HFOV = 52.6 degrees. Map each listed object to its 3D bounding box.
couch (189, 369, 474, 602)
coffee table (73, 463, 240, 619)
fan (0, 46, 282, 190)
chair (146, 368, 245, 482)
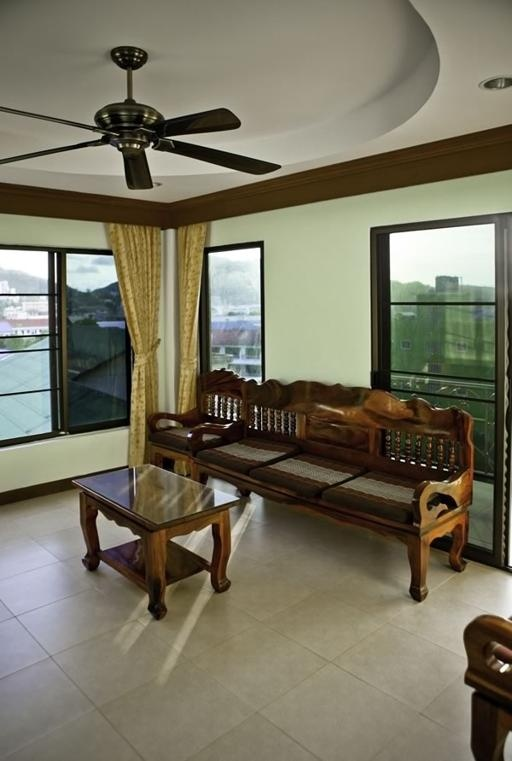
[{"bbox_3d":[0.378,0.572,3.590,0.624,1.044,2.003,-6,9,-45],"label":"couch"},{"bbox_3d":[-0.611,0.888,2.997,0.915,0.540,0.562,7,9,44],"label":"coffee table"},{"bbox_3d":[-0.364,-0.870,1.839,0.725,0.278,0.746,-2,-10,-2],"label":"fan"},{"bbox_3d":[-0.531,0.423,4.580,0.751,1.073,0.691,8,5,34],"label":"chair"}]
